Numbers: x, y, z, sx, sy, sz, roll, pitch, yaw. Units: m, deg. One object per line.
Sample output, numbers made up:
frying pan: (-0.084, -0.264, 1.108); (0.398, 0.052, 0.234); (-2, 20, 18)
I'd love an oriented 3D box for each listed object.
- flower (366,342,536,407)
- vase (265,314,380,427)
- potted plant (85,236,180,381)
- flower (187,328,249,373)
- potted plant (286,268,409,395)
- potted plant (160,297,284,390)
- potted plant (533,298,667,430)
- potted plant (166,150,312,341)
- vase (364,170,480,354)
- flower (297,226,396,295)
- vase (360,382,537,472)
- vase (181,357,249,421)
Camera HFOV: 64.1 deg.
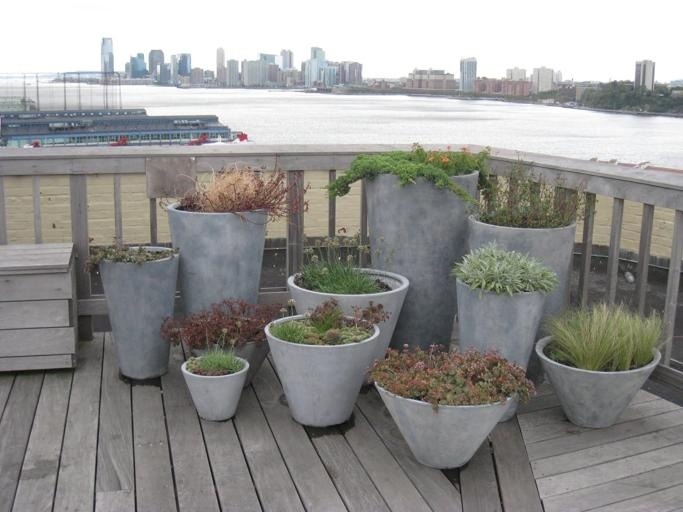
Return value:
flower: (0.500, 0.548, 2.318); (0.635, 0.268, 0.717); (-3, 3, 20)
vase: (-0.087, 0.499, 2.501); (0.445, 0.390, 0.469); (1, 6, -2)
potted plant: (-1.020, 0.298, 3.149); (0.576, 0.940, 0.634); (-1, 5, -5)
flower: (-0.572, 0.512, 2.669); (0.239, 0.162, 0.258); (22, -26, -34)
potted plant: (0.079, 0.358, 2.870); (0.479, 0.389, 0.501); (0, 10, -4)
potted plant: (-0.578, 0.493, 2.860); (0.350, 0.306, 0.456); (-10, -7, 2)
potted plant: (1.257, 0.525, 2.616); (0.536, 0.561, 0.542); (7, -10, 30)
potted plant: (-0.545, -0.037, 3.020); (0.538, 0.762, 0.570); (-6, -3, -13)
vase: (0.363, 0.014, 3.216); (0.739, 1.309, 0.839); (-1, 5, -4)
flower: (0.014, 0.025, 3.048); (0.348, 0.313, 0.433); (3, 2, 12)
vase: (0.439, 0.716, 2.341); (0.581, 0.304, 0.518); (3, 0, -38)
vase: (-0.575, 0.648, 2.535); (0.268, 0.221, 0.257); (-9, 18, -43)
